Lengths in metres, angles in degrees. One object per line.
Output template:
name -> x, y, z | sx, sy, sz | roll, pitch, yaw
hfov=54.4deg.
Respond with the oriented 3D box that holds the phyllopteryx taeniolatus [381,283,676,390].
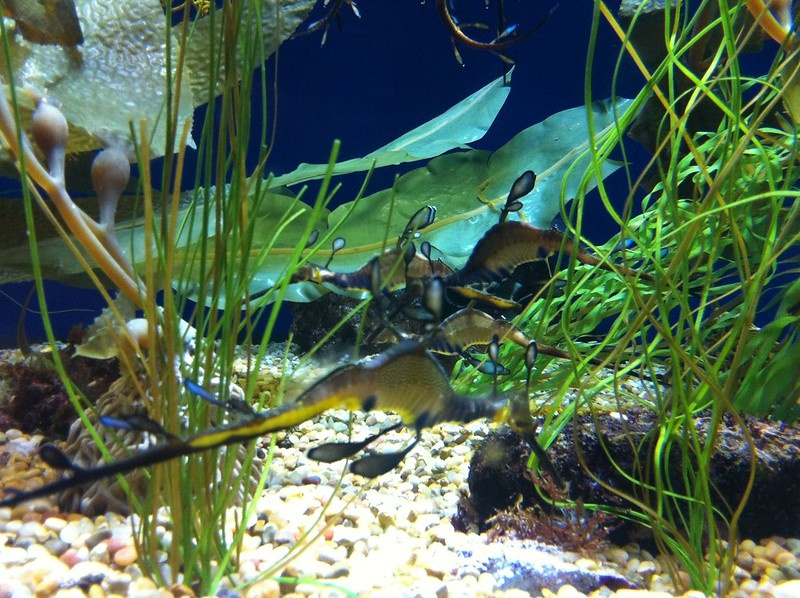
phyllopteryx taeniolatus -> 0.267, 0.098, 1.989 | 0.468, 0.134, 0.205 | -9, 65, 21
